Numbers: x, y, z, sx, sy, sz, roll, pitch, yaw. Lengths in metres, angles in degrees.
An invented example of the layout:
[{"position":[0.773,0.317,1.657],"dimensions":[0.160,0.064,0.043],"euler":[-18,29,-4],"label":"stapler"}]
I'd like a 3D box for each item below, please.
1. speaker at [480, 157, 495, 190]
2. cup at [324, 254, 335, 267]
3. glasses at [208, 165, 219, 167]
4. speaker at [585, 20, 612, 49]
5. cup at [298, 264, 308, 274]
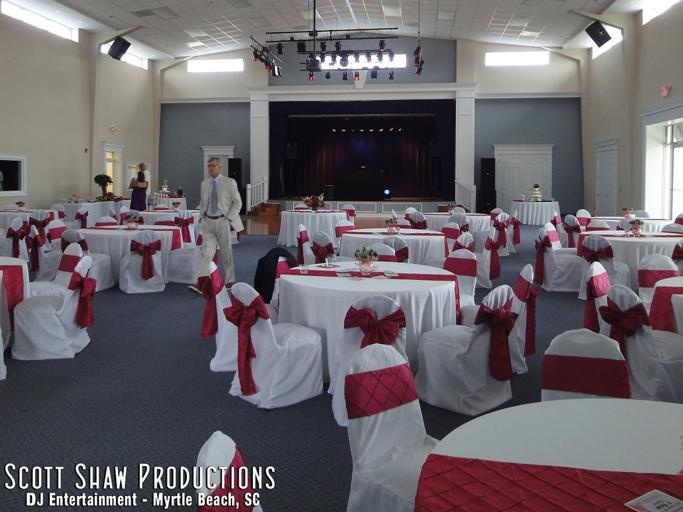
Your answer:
[{"position":[5.575,-3.251,16.420],"dimensions":[0.583,1.284,0.692],"euler":[10,40,31],"label":"speaker"},{"position":[-0.124,0.028,4.166],"dimensions":[0.092,0.142,0.098],"euler":[0,23,0],"label":"cup"},{"position":[-1.670,-1.188,5.756],"dimensions":[0.054,0.043,0.189],"euler":[4,12,26],"label":"glasses"},{"position":[7.752,-6.677,13.152],"dimensions":[0.613,0.755,0.503],"euler":[2,10,19],"label":"speaker"},{"position":[-0.340,0.108,3.955],"dimensions":[0.056,0.086,0.067],"euler":[-1,5,4],"label":"cup"}]
